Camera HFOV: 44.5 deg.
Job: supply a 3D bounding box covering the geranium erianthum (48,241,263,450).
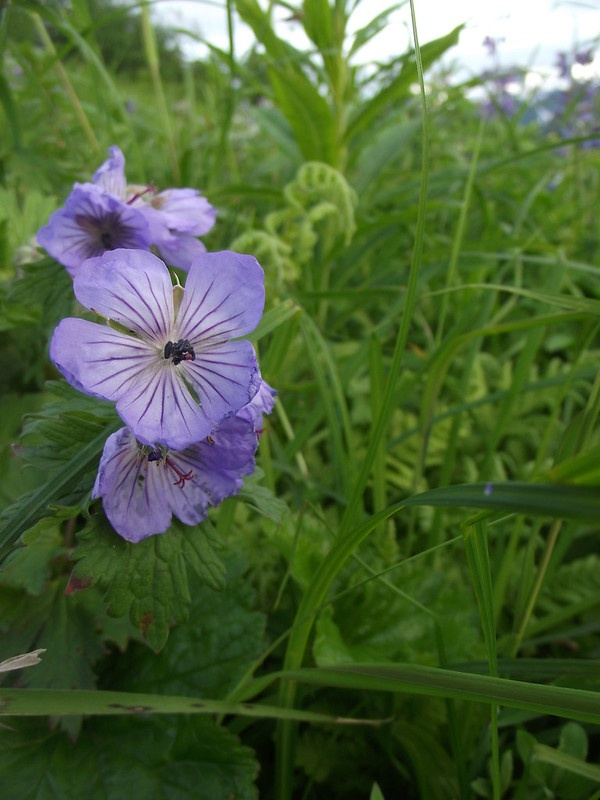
[{"bbox_3d":[-0.190,-0.095,0.976,0.264,0.092,0.286,12,23,29],"label":"geranium erianthum"}]
